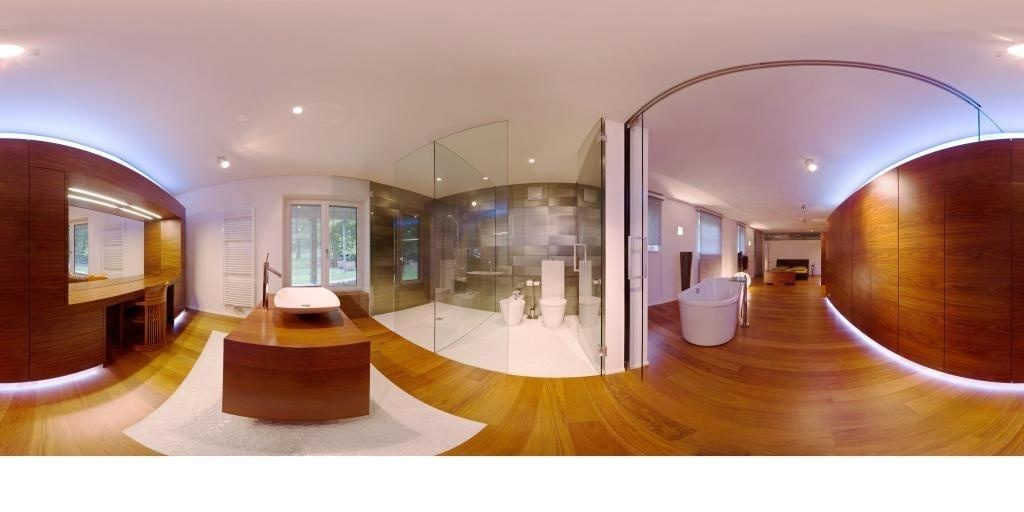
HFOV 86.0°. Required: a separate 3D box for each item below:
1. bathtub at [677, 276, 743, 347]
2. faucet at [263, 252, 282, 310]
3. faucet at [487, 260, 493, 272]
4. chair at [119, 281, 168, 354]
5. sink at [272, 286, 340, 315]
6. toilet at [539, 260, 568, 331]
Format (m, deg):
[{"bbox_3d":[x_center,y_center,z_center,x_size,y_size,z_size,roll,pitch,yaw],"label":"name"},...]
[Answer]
[{"bbox_3d":[2.207,0.617,6.026,0.539,0.305,1.004,4,11,29],"label":"bathtub"},{"bbox_3d":[-2.491,0.249,5.679,0.197,0.558,0.144,-3,4,-41],"label":"faucet"},{"bbox_3d":[-0.257,0.109,6.618,0.096,0.147,0.030,-1,3,-8],"label":"faucet"},{"bbox_3d":[-3.896,0.653,5.725,0.507,0.643,0.398,0,2,-2],"label":"chair"},{"bbox_3d":[-2.108,0.458,5.572,0.657,0.267,0.398,-1,3,-11],"label":"sink"},{"bbox_3d":[0.552,0.495,7.371,0.346,0.849,0.562,0,3,4],"label":"toilet"}]
